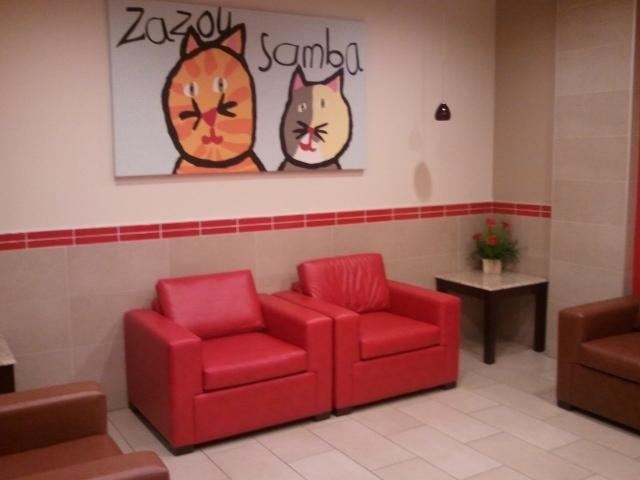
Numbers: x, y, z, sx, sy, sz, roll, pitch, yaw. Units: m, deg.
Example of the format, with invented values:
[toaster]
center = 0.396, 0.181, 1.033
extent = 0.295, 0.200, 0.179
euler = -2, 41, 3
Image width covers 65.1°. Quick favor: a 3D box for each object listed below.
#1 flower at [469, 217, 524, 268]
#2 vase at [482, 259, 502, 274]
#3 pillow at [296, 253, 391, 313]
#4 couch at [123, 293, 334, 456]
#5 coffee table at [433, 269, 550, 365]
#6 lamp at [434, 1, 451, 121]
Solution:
[flower]
center = 1.912, -0.004, 5.593
extent = 0.511, 0.550, 0.519
euler = -7, 10, -38
[vase]
center = 1.859, 0.284, 5.417
extent = 0.160, 0.128, 0.166
euler = 2, 7, 15
[pillow]
center = 0.279, 0.378, 4.611
extent = 0.724, 0.568, 0.153
euler = -5, -10, -27
[couch]
center = -0.792, 0.686, 3.906
extent = 1.313, 0.896, 0.969
euler = -5, 8, -31
[coffee table]
center = 1.781, 0.642, 5.321
extent = 0.899, 0.832, 0.887
euler = -6, 10, -34
[lamp]
center = 1.278, -1.801, 5.143
extent = 0.182, 1.129, 0.369
euler = 2, 10, 14
